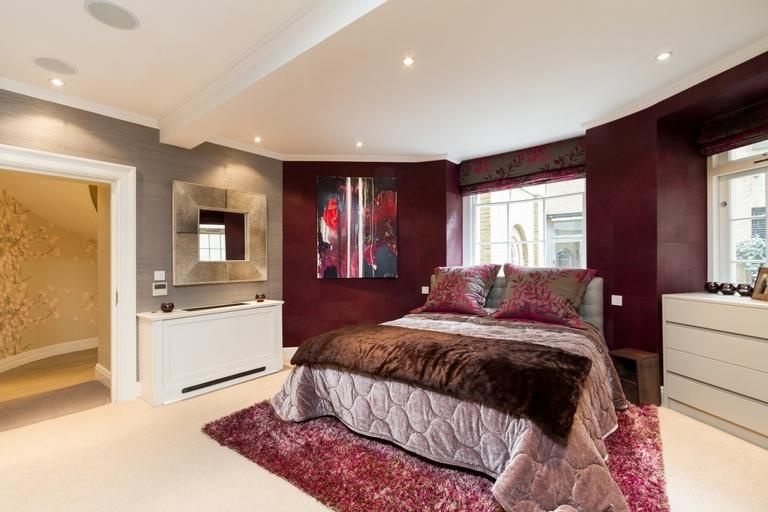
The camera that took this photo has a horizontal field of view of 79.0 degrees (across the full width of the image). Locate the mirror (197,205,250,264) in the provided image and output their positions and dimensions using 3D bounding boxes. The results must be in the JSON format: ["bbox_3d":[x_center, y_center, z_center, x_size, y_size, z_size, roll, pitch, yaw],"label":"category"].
[{"bbox_3d":[-2.021,-0.269,5.766,0.726,0.867,0.065,0,-3,-44],"label":"mirror"}]
